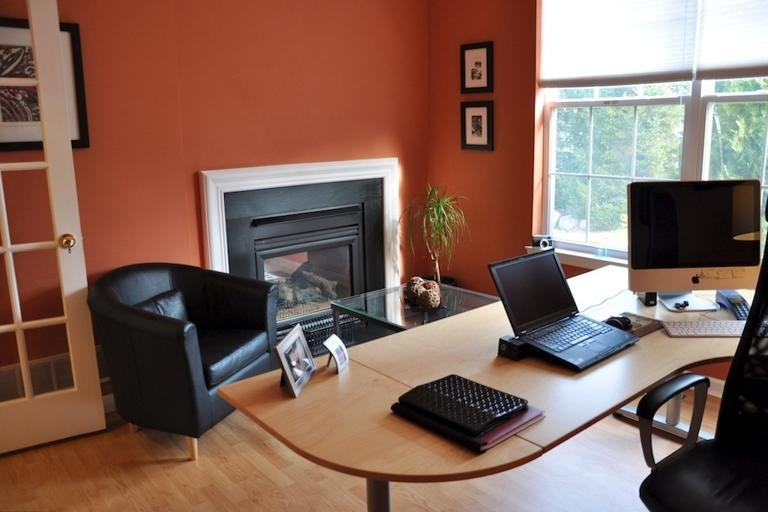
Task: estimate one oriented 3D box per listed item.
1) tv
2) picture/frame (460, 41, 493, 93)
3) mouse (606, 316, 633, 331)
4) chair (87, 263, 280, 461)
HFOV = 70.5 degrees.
[{"bbox_3d":[1.773,-0.072,3.099,0.751,0.730,0.247,-2,2,-5],"label":"tv"},{"bbox_3d":[0.813,-1.669,4.759,0.038,0.515,0.446,-10,14,-44],"label":"picture/frame"},{"bbox_3d":[1.245,0.356,2.872,0.098,0.050,0.075,7,8,15],"label":"mouse"},{"bbox_3d":[-1.453,0.675,3.894,1.124,1.007,1.136,10,13,29],"label":"chair"}]
